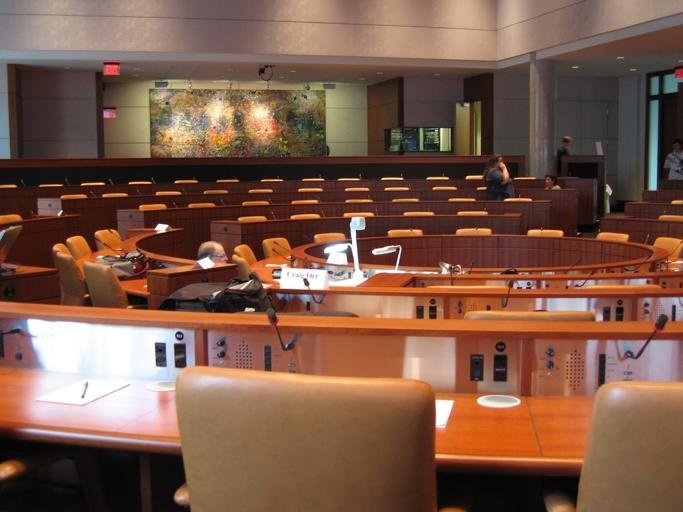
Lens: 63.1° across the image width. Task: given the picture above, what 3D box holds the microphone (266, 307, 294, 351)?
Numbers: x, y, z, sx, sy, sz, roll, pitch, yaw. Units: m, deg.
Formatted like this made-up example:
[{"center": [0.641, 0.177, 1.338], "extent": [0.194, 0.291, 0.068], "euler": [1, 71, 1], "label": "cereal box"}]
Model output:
[{"center": [-0.240, 0.290, 2.111], "extent": [0.066, 0.180, 0.103], "euler": [-18, 9, -2], "label": "microphone"}]

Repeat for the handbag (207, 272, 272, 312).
[{"center": [-0.546, 0.214, 3.114], "extent": [0.355, 0.127, 0.297], "euler": [-2, 17, -6], "label": "handbag"}]

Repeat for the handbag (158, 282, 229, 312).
[{"center": [-0.852, 0.236, 3.152], "extent": [0.224, 0.075, 0.263], "euler": [1, 5, 3], "label": "handbag"}]

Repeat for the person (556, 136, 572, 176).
[{"center": [5.294, -2.350, 13.252], "extent": [0.306, 0.930, 1.359], "euler": [1, 7, 21], "label": "person"}]

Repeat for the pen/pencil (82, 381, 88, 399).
[{"center": [-0.973, 0.509, 2.101], "extent": [0.014, 0.011, 0.047], "euler": [-7, 40, -1], "label": "pen/pencil"}]
